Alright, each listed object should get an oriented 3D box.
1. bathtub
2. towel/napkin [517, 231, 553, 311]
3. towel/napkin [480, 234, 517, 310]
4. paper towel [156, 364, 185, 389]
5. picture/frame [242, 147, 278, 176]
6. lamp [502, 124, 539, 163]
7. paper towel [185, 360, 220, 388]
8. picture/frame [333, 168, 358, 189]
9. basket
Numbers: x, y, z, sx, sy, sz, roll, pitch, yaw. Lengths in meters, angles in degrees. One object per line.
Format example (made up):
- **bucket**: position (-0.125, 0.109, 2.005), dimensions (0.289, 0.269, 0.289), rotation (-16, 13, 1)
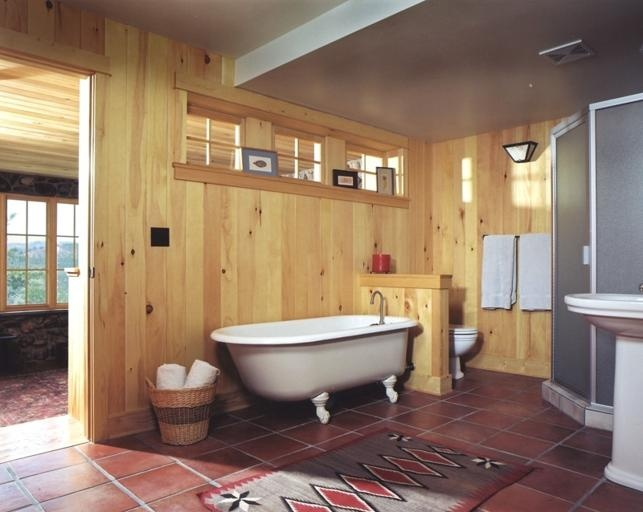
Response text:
- **bathtub**: position (0.020, 0.843, 3.988), dimensions (1.843, 0.689, 0.837), rotation (-3, 3, -40)
- **towel/napkin**: position (2.086, 0.136, 4.951), dimensions (0.349, 0.732, 0.086), rotation (-2, -1, 3)
- **towel/napkin**: position (1.798, 0.156, 5.135), dimensions (0.332, 0.728, 0.157), rotation (1, 3, 22)
- **paper towel**: position (-0.989, 0.784, 3.382), dimensions (0.164, 0.133, 0.165), rotation (2, 1, 34)
- **picture/frame**: position (-0.521, -0.772, 4.171), dimensions (0.292, 0.169, 0.031), rotation (2, -8, -38)
- **lamp**: position (1.964, -1.101, 5.013), dimensions (0.330, 0.359, 0.314), rotation (1, 3, 24)
- **paper towel**: position (-0.810, 0.806, 3.414), dimensions (0.172, 0.191, 0.192), rotation (24, -13, -9)
- **picture/frame**: position (0.219, -0.731, 4.802), dimensions (0.234, 0.154, 0.009), rotation (3, -12, -39)
- **basket**: position (-0.905, 0.984, 3.232), dimensions (0.409, 0.360, 0.428), rotation (2, -9, -24)
